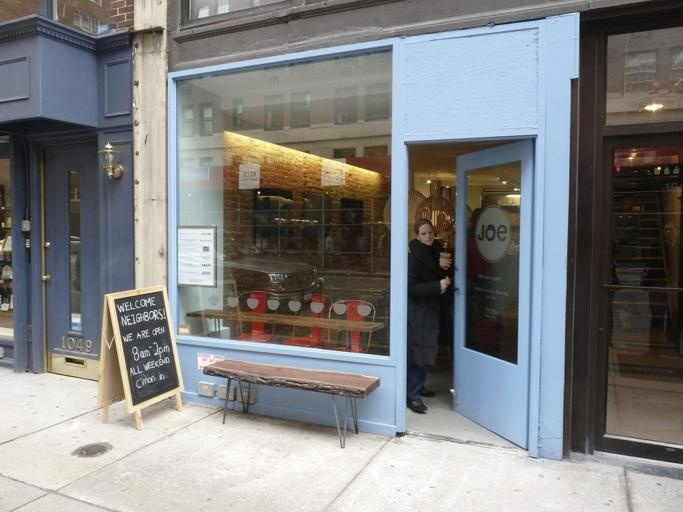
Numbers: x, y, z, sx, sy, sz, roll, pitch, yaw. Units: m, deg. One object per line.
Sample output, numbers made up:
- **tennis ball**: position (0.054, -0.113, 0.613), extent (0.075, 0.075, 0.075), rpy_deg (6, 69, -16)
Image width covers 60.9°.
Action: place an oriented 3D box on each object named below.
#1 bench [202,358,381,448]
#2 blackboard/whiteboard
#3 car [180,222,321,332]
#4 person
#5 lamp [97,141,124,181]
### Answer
- **bench**: position (-0.580, 1.542, 6.083), extent (1.923, 0.710, 0.485), rpy_deg (2, 10, 25)
- **blackboard/whiteboard**: position (-2.078, 0.955, 6.248), extent (0.691, 1.177, 0.505), rpy_deg (-10, 15, -41)
- **car**: position (-0.954, 0.173, 7.036), extent (1.769, 1.050, 0.962), rpy_deg (0, 4, 22)
- **person**: position (0.964, 0.663, 6.494), extent (0.462, 2.093, 0.675), rpy_deg (2, 11, 9)
- **lamp**: position (-2.756, -1.124, 6.942), extent (0.328, 0.413, 0.132), rpy_deg (4, 12, 21)
